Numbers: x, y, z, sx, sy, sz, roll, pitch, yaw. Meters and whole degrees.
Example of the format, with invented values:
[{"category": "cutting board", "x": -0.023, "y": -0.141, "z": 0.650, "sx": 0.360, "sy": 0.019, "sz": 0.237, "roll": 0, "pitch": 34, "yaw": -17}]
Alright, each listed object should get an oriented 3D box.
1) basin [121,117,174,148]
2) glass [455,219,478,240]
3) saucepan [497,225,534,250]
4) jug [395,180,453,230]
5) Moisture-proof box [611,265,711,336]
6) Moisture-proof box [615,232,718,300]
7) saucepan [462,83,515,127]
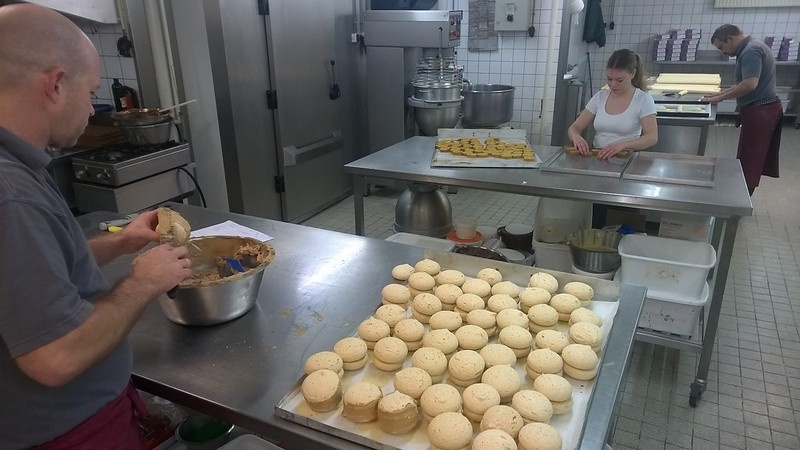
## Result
[{"category": "basin", "x": -1.867, "y": -0.700, "z": 3.460, "sx": 0.270, "sy": 0.095, "sz": 0.251, "roll": -2, "pitch": 16, "yaw": 1}, {"category": "glass", "x": 0.504, "y": 0.028, "z": 3.614, "sx": 0.165, "sy": 0.096, "sz": 0.150, "roll": -1, "pitch": 20, "yaw": 10}, {"category": "saucepan", "x": 0.921, "y": 0.100, "z": 3.762, "sx": 0.231, "sy": 0.191, "sz": 0.210, "roll": 11, "pitch": 24, "yaw": 38}, {"category": "jug", "x": 0.189, "y": -0.152, "z": 3.884, "sx": 0.445, "sy": 0.368, "sz": 0.409, "roll": -1, "pitch": 19, "yaw": -8}, {"category": "Moisture-proof box", "x": 1.593, "y": 0.540, "z": 3.048, "sx": 0.656, "sy": 0.283, "sz": 0.470, "roll": 7, "pitch": 18, "yaw": 33}, {"category": "Moisture-proof box", "x": 1.697, "y": 0.239, "z": 2.965, "sx": 0.688, "sy": 0.282, "sz": 0.469, "roll": 10, "pitch": 28, "yaw": 31}, {"category": "saucepan", "x": 0.987, "y": -1.320, "z": 5.430, "sx": 0.671, "sy": 0.391, "sz": 0.611, "roll": -3, "pitch": 22, "yaw": 0}]
